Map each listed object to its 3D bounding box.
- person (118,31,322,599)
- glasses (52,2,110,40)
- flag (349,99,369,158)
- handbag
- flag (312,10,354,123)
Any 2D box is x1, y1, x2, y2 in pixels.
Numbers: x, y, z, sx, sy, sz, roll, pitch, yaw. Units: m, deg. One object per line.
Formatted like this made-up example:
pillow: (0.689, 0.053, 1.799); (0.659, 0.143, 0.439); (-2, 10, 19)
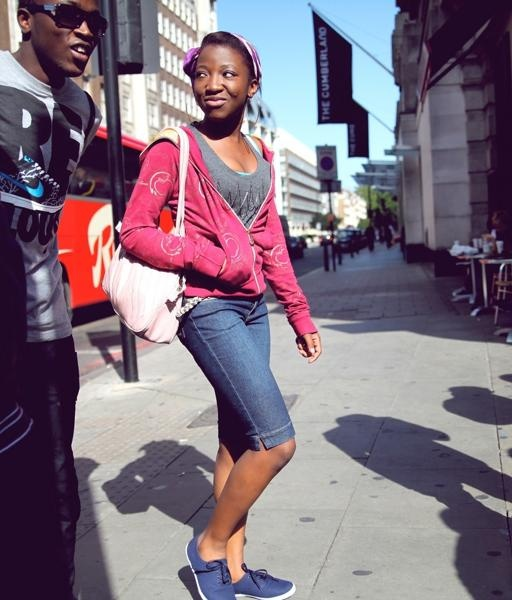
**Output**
person: (-0.089, 0.076, 2.348); (0.571, 2.014, 0.593); (-5, 5, 8)
glasses: (-0.501, -0.796, 1.897); (0.111, 0.034, 0.110); (7, 2, 29)
flag: (3.012, -5.092, 19.862); (0.660, 1.933, 1.480); (-5, 5, 10)
handbag: (-0.354, -0.204, 2.176); (0.340, 0.695, 0.202); (-6, 5, -4)
flag: (2.408, -6.992, 20.185); (1.490, 3.389, 0.124); (-8, 12, -20)
